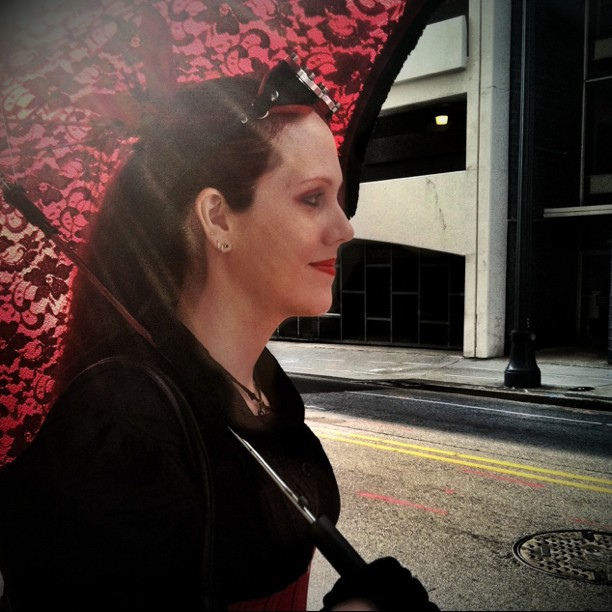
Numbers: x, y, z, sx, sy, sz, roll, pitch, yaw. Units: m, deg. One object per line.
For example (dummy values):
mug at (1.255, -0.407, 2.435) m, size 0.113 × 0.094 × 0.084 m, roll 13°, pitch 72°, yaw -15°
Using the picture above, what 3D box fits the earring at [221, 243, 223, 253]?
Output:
earring at (-0.211, -0.144, 1.487) m, size 0.004 × 0.021 × 0.022 m, roll 1°, pitch 1°, yaw -8°
